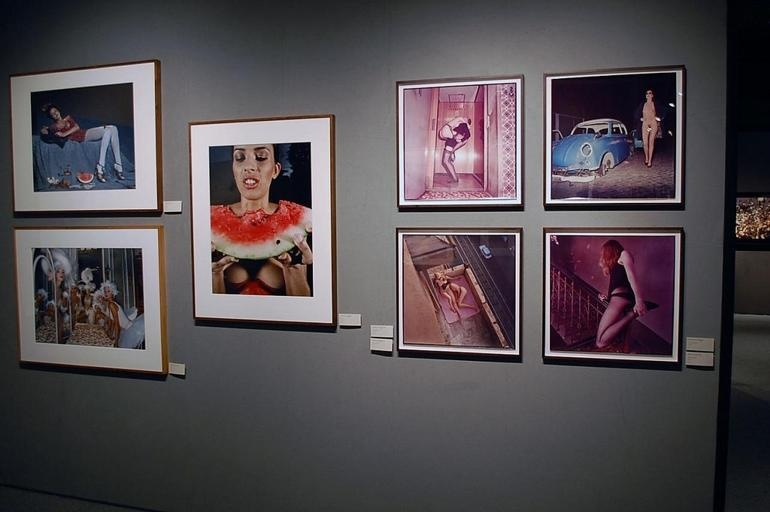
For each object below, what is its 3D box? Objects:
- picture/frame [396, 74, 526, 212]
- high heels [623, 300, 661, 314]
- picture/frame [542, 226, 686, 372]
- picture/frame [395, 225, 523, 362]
[{"bbox_3d":[0.579,-0.830,4.309,0.920,1.002,0.069,0,0,8],"label":"picture/frame"},{"bbox_3d":[1.817,0.351,4.264,0.292,0.091,0.077,-7,-2,7],"label":"high heels"},{"bbox_3d":[1.650,0.278,4.232,0.942,1.059,0.042,1,3,8],"label":"picture/frame"},{"bbox_3d":[0.571,0.244,4.353,0.914,0.993,0.035,1,0,9],"label":"picture/frame"}]
